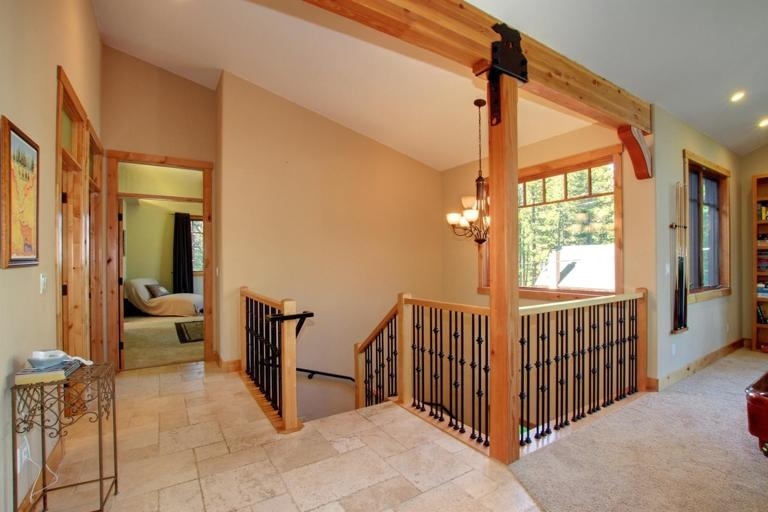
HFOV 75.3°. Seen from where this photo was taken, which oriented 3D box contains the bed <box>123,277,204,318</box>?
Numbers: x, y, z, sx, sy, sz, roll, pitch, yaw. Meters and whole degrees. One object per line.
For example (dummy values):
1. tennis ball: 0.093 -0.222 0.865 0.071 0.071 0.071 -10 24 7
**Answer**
1. bed: -4.720 0.827 10.632 1.433 0.788 0.884 -3 -1 -4
